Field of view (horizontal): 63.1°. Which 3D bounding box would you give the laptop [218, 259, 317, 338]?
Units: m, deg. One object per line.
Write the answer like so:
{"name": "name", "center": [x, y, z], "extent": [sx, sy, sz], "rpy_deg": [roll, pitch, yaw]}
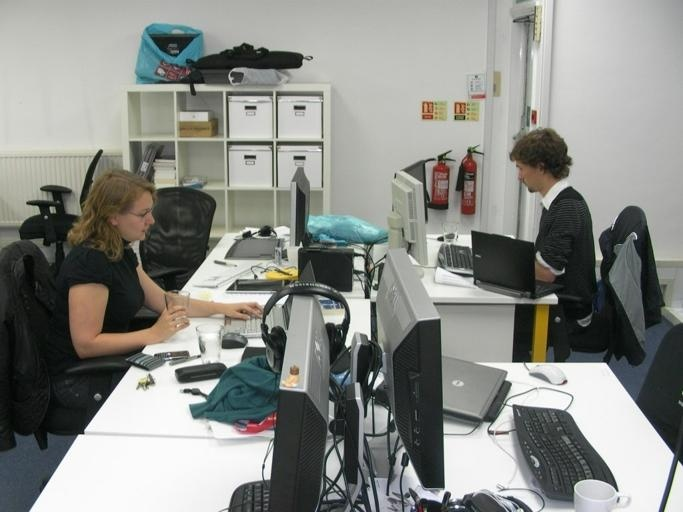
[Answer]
{"name": "laptop", "center": [-0.326, 0.180, 2.332], "extent": [0.258, 0.279, 0.062], "rpy_deg": [-2, -17, 31]}

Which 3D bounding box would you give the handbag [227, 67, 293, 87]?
{"name": "handbag", "center": [-0.702, -1.529, 4.721], "extent": [0.516, 0.132, 0.115], "rpy_deg": [-4, 14, -13]}

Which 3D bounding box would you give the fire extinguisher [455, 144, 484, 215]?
{"name": "fire extinguisher", "center": [1.210, -0.700, 5.254], "extent": [0.245, 0.661, 0.177], "rpy_deg": [2, 14, 11]}

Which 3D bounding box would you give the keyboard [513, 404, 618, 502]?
{"name": "keyboard", "center": [0.699, 0.622, 1.797], "extent": [0.240, 0.096, 0.394], "rpy_deg": [-1, 14, -1]}

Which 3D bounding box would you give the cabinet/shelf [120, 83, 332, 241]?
{"name": "cabinet/shelf", "center": [-0.936, -0.836, 4.506], "extent": [1.283, 1.338, 0.415], "rpy_deg": [1, 14, 2]}

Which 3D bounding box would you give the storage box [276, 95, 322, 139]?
{"name": "storage box", "center": [-0.360, -1.184, 4.810], "extent": [0.357, 0.362, 0.371], "rpy_deg": [2, 15, 0]}

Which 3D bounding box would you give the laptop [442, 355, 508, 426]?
{"name": "laptop", "center": [0.484, 0.483, 2.020], "extent": [0.219, 0.061, 0.246], "rpy_deg": [5, 23, 19]}

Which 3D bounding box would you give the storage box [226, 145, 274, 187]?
{"name": "storage box", "center": [-0.792, -0.774, 4.961], "extent": [0.412, 0.452, 0.342], "rpy_deg": [0, 4, -1]}

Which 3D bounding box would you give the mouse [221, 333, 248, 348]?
{"name": "mouse", "center": [-0.464, 0.361, 2.406], "extent": [0.075, 0.025, 0.058], "rpy_deg": [0, 14, -8]}

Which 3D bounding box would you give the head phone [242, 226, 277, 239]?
{"name": "head phone", "center": [-0.583, -0.167, 3.902], "extent": [0.154, 0.062, 0.125], "rpy_deg": [-1, 16, -5]}

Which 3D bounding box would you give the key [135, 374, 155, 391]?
{"name": "key", "center": [-0.752, 0.478, 2.129], "extent": [0.038, 0.033, 0.060], "rpy_deg": [4, 16, -4]}

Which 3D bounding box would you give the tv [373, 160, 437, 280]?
{"name": "tv", "center": [0.390, -0.266, 3.375], "extent": [0.286, 0.828, 0.780], "rpy_deg": [-4, 17, -9]}

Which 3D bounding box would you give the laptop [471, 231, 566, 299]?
{"name": "laptop", "center": [0.932, 0.000, 2.926], "extent": [0.341, 0.356, 0.409], "rpy_deg": [-12, 17, -40]}

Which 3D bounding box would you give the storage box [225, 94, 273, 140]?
{"name": "storage box", "center": [-0.792, -1.191, 4.826], "extent": [0.362, 0.391, 0.379], "rpy_deg": [0, 6, -2]}

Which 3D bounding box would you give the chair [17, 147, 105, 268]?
{"name": "chair", "center": [-2.659, -0.346, 5.258], "extent": [0.749, 1.342, 0.734], "rpy_deg": [2, -1, -38]}

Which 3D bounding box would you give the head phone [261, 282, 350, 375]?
{"name": "head phone", "center": [-0.102, 0.201, 1.621], "extent": [0.237, 0.302, 0.119], "rpy_deg": [1, 34, -9]}

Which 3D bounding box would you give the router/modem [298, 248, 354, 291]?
{"name": "router/modem", "center": [-0.083, 0.041, 3.008], "extent": [0.338, 0.328, 0.193], "rpy_deg": [1, 16, -1]}

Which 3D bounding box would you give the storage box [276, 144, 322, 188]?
{"name": "storage box", "center": [-0.321, -0.784, 4.975], "extent": [0.495, 0.547, 0.383], "rpy_deg": [0, 5, 0]}

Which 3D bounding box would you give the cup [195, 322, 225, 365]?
{"name": "cup", "center": [-0.526, 0.354, 2.248], "extent": [0.127, 0.164, 0.133], "rpy_deg": [-1, -2, 0]}

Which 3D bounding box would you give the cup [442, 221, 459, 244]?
{"name": "cup", "center": [0.760, -0.167, 3.743], "extent": [0.128, 0.175, 0.124], "rpy_deg": [0, 7, 0]}
